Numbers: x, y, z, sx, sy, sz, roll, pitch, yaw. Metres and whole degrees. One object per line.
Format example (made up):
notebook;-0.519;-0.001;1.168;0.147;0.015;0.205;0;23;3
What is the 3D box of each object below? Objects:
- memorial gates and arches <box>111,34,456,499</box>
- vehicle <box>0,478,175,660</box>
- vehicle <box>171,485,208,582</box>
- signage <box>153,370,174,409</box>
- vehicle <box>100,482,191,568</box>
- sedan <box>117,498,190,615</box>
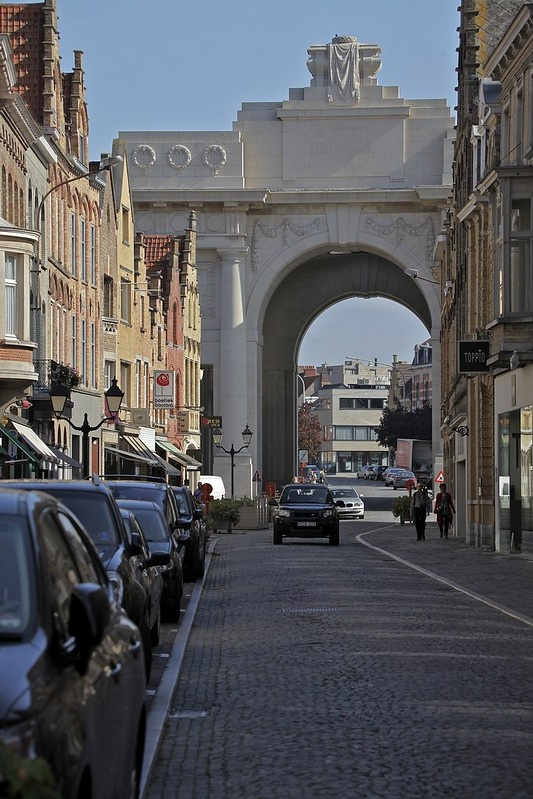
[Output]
memorial gates and arches;0.973;-6.353;74.987;19.003;33.286;9.196;0;-2;0
vehicle;-1.181;1.236;10.668;0.714;1.021;1.574;-1;-11;1
vehicle;-1.239;2.266;22.959;0.550;0.796;1.435;0;-10;0
signage;-4.016;-0.399;55.705;0.721;1.488;1.216;-1;-3;-4
vehicle;-1.461;1.485;18.669;0.767;1.086;1.606;-1;-12;1
sedan;-1.259;1.691;15.690;0.576;0.863;1.426;0;-12;-1
